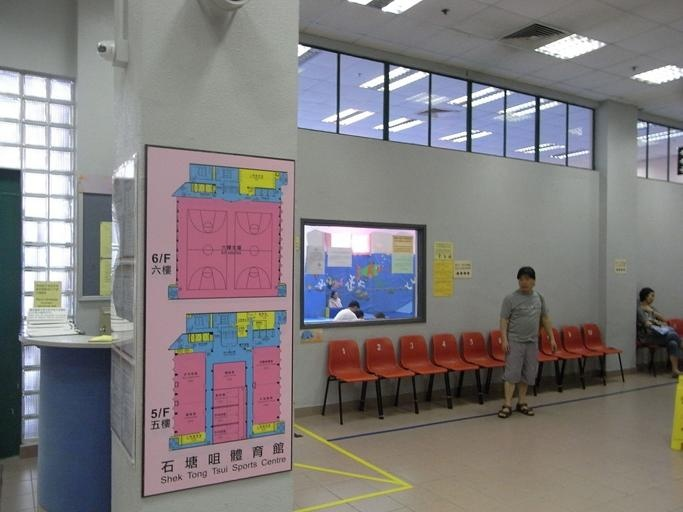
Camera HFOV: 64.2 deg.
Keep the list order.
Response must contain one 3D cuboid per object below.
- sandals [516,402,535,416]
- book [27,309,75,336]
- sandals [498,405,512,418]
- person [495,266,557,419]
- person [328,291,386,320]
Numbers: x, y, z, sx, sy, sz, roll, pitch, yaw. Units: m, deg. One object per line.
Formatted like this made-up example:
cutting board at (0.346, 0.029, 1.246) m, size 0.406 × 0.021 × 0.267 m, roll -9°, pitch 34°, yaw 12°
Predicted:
sandals at (2.416, 2.004, 7.172) m, size 0.105 × 0.103 × 0.248 m, roll 0°, pitch -5°, yaw -23°
book at (-2.503, 0.556, 4.686) m, size 0.361 × 0.204 × 0.305 m, roll 0°, pitch 3°, yaw -30°
sandals at (2.097, 1.973, 7.010) m, size 0.146 × 0.145 × 0.250 m, roll 2°, pitch 3°, yaw 24°
person at (2.377, 1.099, 7.111) m, size 0.821 × 1.905 × 0.257 m, roll 0°, pitch 3°, yaw -23°
person at (0.234, 0.687, 7.417) m, size 0.844 × 0.355 × 0.258 m, roll -1°, pitch 0°, yaw -14°
